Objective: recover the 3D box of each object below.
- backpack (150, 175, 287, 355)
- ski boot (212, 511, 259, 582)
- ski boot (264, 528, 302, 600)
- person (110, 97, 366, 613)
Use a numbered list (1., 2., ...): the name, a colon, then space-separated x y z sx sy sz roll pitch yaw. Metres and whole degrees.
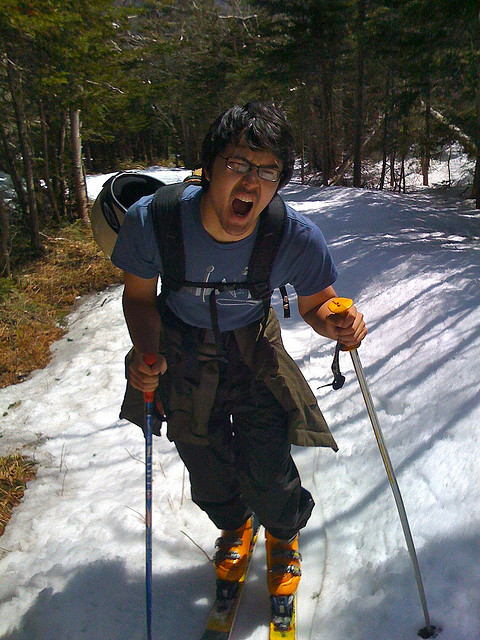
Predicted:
1. backpack: -0.073 -0.171 1.908 0.529 0.856 0.495 3 -2 -6
2. ski boot: -0.001 0.991 2.295 0.141 0.218 0.486 -3 6 12
3. ski boot: 0.180 1.007 2.069 0.104 0.133 0.297 -2 28 0
4. person: -0.030 0.228 1.880 0.803 1.950 0.651 2 21 4
